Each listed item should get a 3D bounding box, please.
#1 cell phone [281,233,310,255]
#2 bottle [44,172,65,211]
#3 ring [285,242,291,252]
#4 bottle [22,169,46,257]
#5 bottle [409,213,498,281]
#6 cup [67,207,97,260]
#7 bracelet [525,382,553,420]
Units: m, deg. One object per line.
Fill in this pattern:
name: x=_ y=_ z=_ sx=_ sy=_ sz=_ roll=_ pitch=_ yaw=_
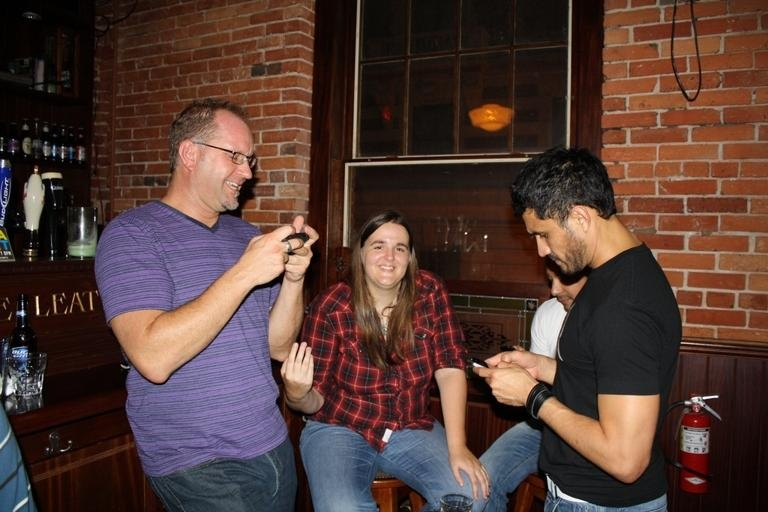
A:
cell phone: x=-0.383 y=-0.056 z=2.294 sx=0.095 sy=0.090 sz=0.032 roll=3 pitch=-11 yaw=35
bottle: x=-1.912 y=-0.378 z=3.019 sx=0.098 sy=0.212 sz=0.132 roll=-2 pitch=2 yaw=-33
ring: x=-0.403 y=-0.034 z=2.229 sx=0.011 sy=0.036 sz=0.039 roll=-4 pitch=9 yaw=-14
bottle: x=-1.952 y=-0.242 z=2.918 sx=0.109 sy=0.499 sz=0.348 roll=-2 pitch=3 yaw=-34
bottle: x=0.481 y=-0.053 z=3.412 sx=0.530 sy=0.440 sz=0.122 roll=0 pitch=2 yaw=19
cup: x=-1.701 y=-0.135 z=2.935 sx=0.157 sy=0.286 sz=0.115 roll=1 pitch=3 yaw=34
bracelet: x=0.672 y=0.616 z=2.235 sx=0.124 sy=0.093 sz=0.142 roll=2 pitch=-18 yaw=4
